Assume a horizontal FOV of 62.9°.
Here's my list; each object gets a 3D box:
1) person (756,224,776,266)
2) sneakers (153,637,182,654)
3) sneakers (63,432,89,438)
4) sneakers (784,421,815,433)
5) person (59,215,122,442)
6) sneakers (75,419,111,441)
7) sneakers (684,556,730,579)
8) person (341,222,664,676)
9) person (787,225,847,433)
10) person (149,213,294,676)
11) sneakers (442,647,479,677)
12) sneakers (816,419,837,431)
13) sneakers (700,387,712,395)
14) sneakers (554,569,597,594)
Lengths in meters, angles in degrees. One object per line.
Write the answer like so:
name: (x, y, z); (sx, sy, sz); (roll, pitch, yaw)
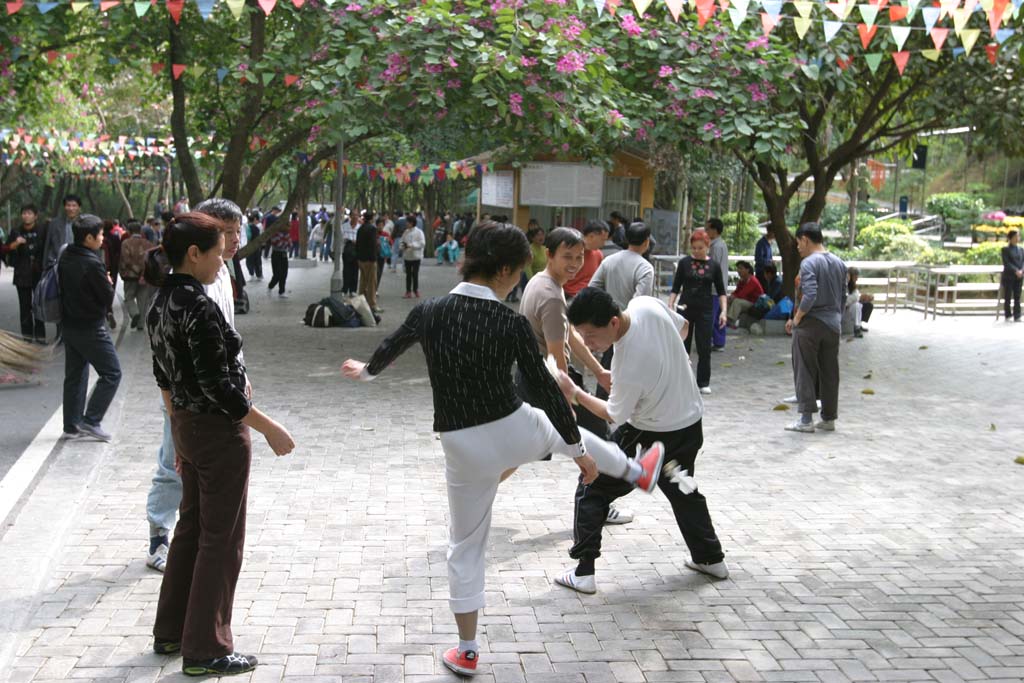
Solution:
person: (5.525, -2.083, 18.149); (0.352, 0.926, 1.615); (4, 10, 16)
sneakers: (-1.987, 1.753, 4.857); (0.188, 0.086, 0.070); (2, 2, -21)
sneakers: (-4.497, 0.960, 8.608); (0.218, 0.088, 0.078); (-2, -7, -9)
sneakers: (3.342, 0.964, 9.589); (0.272, 0.103, 0.138); (5, 1, 14)
person: (-4.401, -0.141, 8.613); (0.551, 2.243, 0.695); (-4, 11, -28)
sneakers: (-4.309, 0.929, 8.611); (0.409, 0.174, 0.147); (14, 8, -22)
sneakers: (1.390, 1.597, 5.923); (0.303, 0.116, 0.111); (14, 15, 36)
person: (-0.129, 0.592, 4.738); (1.132, 2.488, 0.518); (-1, 10, -14)
person: (3.518, -0.158, 9.587); (0.607, 2.316, 0.750); (5, 11, 20)
person: (-1.705, 0.561, 4.684); (0.741, 2.509, 0.579); (11, 14, 44)
sneakers: (-0.280, 1.794, 4.682); (0.107, 0.108, 0.241); (2, 4, -18)
sneakers: (3.645, 0.944, 9.669); (0.102, 0.169, 0.256); (-3, 15, -7)
sneakers: (2.667, 0.676, 11.417); (0.075, 0.086, 0.200); (7, -17, 4)
sneakers: (0.429, 1.607, 5.695); (0.109, 0.121, 0.292); (-3, 11, -43)
